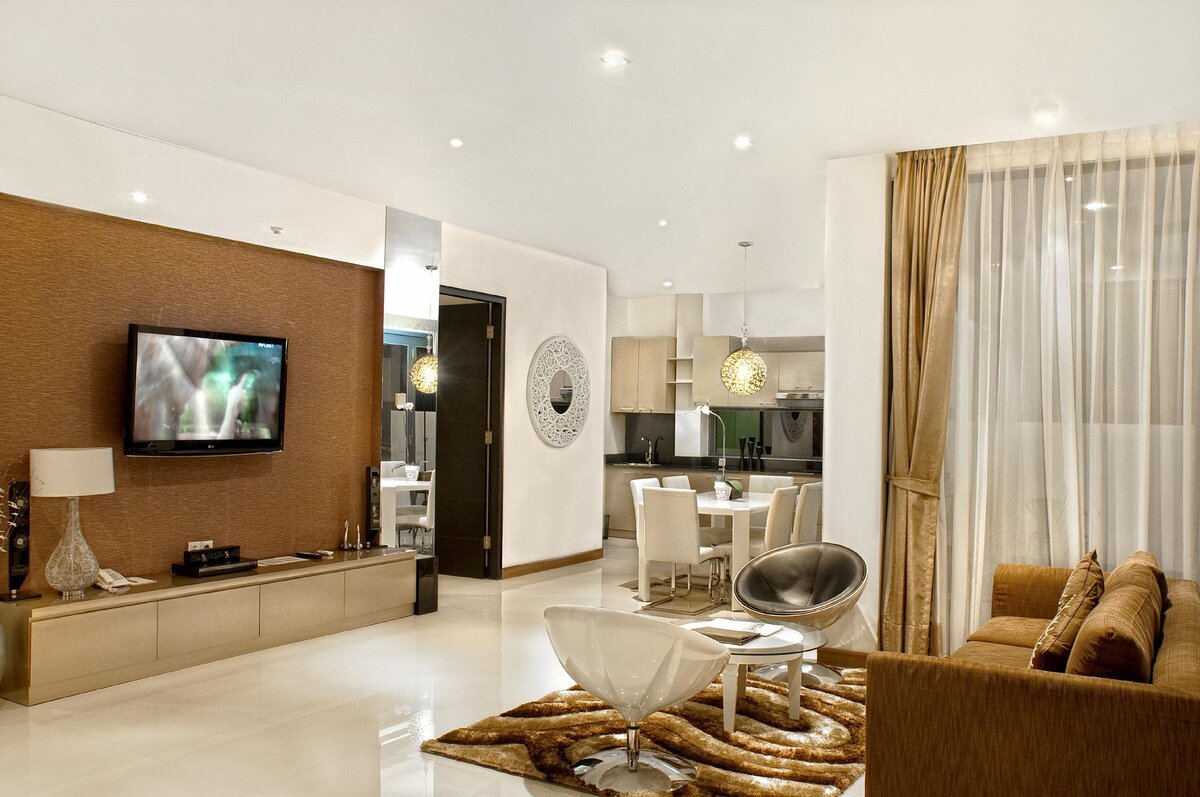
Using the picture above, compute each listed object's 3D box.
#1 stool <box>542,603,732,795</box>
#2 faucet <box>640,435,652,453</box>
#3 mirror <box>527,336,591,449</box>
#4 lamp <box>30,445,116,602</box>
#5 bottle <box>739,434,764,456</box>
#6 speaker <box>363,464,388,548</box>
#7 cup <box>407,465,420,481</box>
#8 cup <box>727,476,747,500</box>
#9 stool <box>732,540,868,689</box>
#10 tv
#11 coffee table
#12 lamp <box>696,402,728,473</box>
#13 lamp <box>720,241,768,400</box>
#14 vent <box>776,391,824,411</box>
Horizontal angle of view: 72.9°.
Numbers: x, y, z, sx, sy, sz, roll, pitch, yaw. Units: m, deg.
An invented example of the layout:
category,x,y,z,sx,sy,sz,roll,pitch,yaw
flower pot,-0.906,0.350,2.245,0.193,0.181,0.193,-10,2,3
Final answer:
category,x,y,z,sx,sy,sz,roll,pitch,yaw
stool,0.189,1.562,4.317,0.954,0.946,0.351,1,3,8
faucet,0.647,0.627,11.118,0.086,0.208,0.193,-1,3,-35
mirror,-0.460,-0.066,8.999,0.199,1.233,0.962,3,3,31
lamp,-3.455,0.805,5.341,0.443,0.961,0.367,-1,3,-35
bottle,1.966,0.613,10.550,0.289,0.232,0.070,1,3,12
speaker,-1.961,0.938,7.037,0.127,0.676,0.065,-1,3,-27
cup,-1.703,0.684,7.457,0.123,0.155,0.142,-1,0,-3
cup,1.480,0.970,8.833,0.285,0.203,0.288,0,-1,0
stool,1.390,1.419,5.639,0.767,0.543,0.785,5,14,41
tv,-2.933,-0.051,5.973,0.127,0.852,1.012,-2,-5,33
coffee table,0.972,1.601,5.068,0.818,0.464,0.821,0,-7,8
lamp,1.460,0.517,10.567,0.378,0.795,0.484,1,3,7
lamp,1.572,-0.869,8.833,0.526,1.624,0.573,2,13,18
vent,2.482,0.034,10.175,0.569,0.273,0.385,2,3,22
